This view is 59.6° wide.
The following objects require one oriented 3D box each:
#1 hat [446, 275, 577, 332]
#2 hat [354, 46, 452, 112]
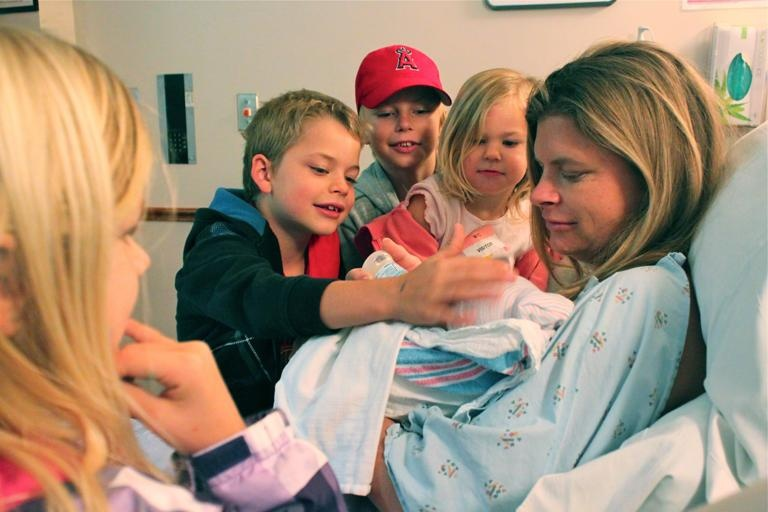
[{"bbox_3d":[0.249,0.090,1.224,0.166,0.069,0.109,-6,15,42],"label":"hat"},{"bbox_3d":[0.051,-0.483,1.892,0.186,0.133,0.244,-9,6,-29],"label":"hat"}]
